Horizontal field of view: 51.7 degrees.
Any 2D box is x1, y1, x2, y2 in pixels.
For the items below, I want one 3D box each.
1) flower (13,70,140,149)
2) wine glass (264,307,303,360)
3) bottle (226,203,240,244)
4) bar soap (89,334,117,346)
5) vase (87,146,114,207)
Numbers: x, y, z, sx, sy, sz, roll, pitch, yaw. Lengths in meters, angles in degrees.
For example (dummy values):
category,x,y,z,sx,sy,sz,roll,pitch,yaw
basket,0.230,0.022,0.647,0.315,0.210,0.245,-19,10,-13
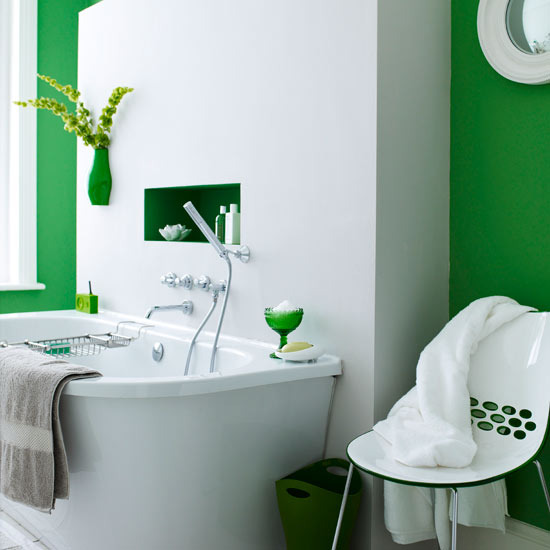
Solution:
category,x,y,z,sx,sy,sz,roll,pitch,yaw
flower,-1.154,-0.937,3.163,0.526,0.502,1.137,-3,8,-26
wine glass,0.030,0.187,1.919,0.129,0.207,0.151,1,-2,-1
bottle,-0.178,-0.209,2.359,0.076,0.159,0.057,3,7,19
bar soap,-0.722,0.272,2.389,0.063,0.036,0.091,3,2,34
vase,-0.913,-0.511,2.964,0.117,0.302,0.075,-3,7,-30
